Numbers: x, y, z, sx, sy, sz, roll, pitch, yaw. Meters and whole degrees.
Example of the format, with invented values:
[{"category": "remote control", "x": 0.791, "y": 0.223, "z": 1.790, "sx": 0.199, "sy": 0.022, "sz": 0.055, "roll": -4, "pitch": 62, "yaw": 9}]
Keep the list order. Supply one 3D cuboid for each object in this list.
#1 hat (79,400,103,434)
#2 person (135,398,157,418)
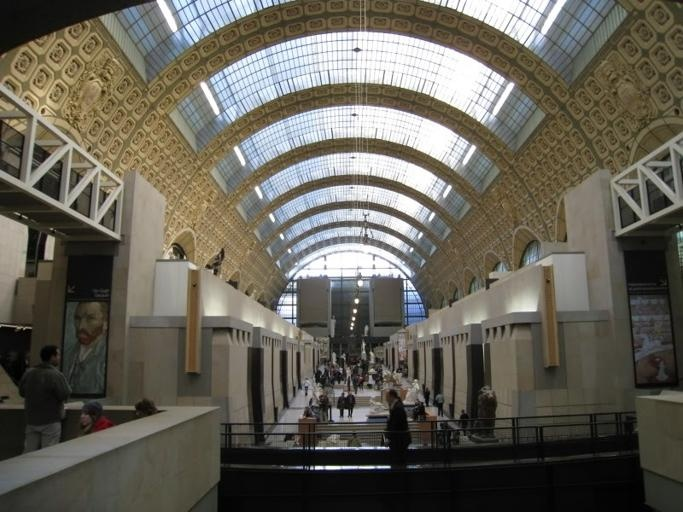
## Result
[{"category": "hat", "x": -4.139, "y": 2.633, "z": 7.662, "sx": 0.370, "sy": 0.498, "sz": 0.274, "roll": -8, "pitch": -18, "yaw": 26}, {"category": "person", "x": -3.513, "y": 2.721, "z": 8.419, "sx": 0.336, "sy": 0.315, "sz": 0.949, "roll": 10, "pitch": -21, "yaw": -30}]
